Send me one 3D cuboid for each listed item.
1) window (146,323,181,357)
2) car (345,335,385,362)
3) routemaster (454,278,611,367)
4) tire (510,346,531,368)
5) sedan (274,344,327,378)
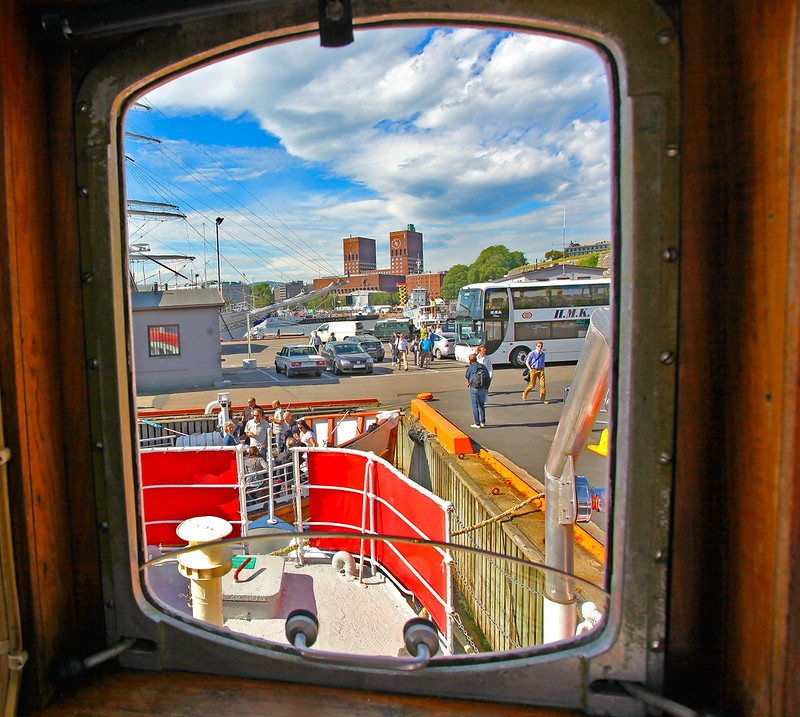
[{"bbox_3d":[-6.129,-0.504,21.460,0.878,0.719,0.065,7,13,-30],"label":"window"},{"bbox_3d":[-1.122,-0.410,30.497,0.793,0.515,1.588,-2,16,-18],"label":"car"},{"bbox_3d":[4.268,-1.113,25.106,6.006,2.284,1.842,-3,4,-31],"label":"routemaster"},{"bbox_3d":[3.278,-0.074,22.692,0.651,0.604,0.212,-1,6,-9],"label":"tire"},{"bbox_3d":[-3.134,0.105,25.865,0.836,0.571,1.705,-3,8,-21],"label":"sedan"}]
